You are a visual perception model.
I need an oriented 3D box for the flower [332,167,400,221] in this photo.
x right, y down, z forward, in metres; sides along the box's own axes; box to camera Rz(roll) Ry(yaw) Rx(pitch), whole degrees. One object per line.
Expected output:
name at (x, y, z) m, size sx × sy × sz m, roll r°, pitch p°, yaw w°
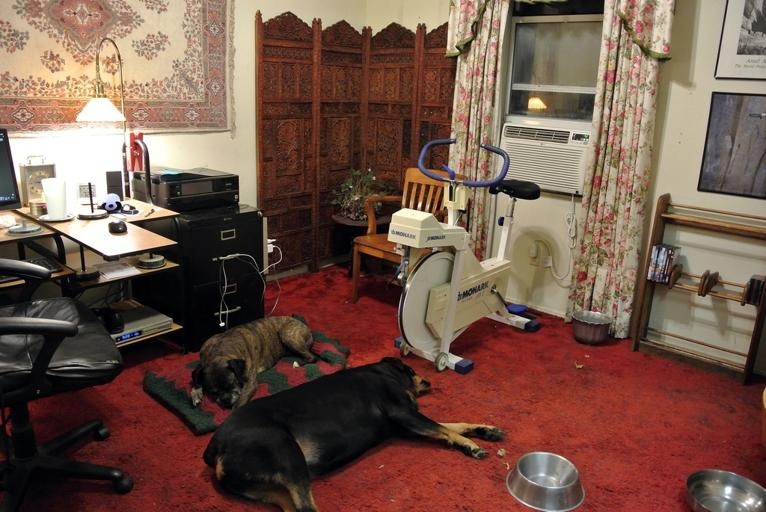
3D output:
flower at (-0.194, -0.693, 5.570) m, size 0.575 × 0.454 × 0.650 m, roll 21°, pitch 15°, yaw -5°

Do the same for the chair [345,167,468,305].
chair at (0.176, -0.195, 4.898) m, size 1.031 × 1.126 × 0.951 m, roll -1°, pitch 24°, yaw 7°

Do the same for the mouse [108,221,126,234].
mouse at (-1.851, -0.202, 3.561) m, size 0.098 × 0.053 × 0.093 m, roll 3°, pitch 9°, yaw 1°

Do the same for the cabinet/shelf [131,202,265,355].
cabinet/shelf at (-1.475, 0.177, 3.984) m, size 0.988 × 1.153 × 0.870 m, roll 17°, pitch 25°, yaw 37°

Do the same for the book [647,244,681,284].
book at (2.257, 0.065, 4.126) m, size 0.286 × 0.277 × 0.173 m, roll -8°, pitch 20°, yaw -36°

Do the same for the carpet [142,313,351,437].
carpet at (-0.899, 0.798, 3.589) m, size 0.643 × 0.118 × 0.888 m, roll 16°, pitch 23°, yaw 41°

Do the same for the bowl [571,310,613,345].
bowl at (1.807, 0.620, 4.427) m, size 0.335 × 0.239 × 0.266 m, roll 6°, pitch 20°, yaw 15°

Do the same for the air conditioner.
air conditioner at (1.475, -0.860, 4.575) m, size 0.720 × 0.567 × 0.276 m, roll 13°, pitch 19°, yaw 33°

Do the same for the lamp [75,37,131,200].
lamp at (-2.179, -1.061, 4.007) m, size 0.376 × 1.242 × 0.472 m, roll -8°, pitch 22°, yaw -23°

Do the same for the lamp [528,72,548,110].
lamp at (1.423, -1.513, 4.772) m, size 0.063 × 0.339 × 0.240 m, roll -18°, pitch 26°, yaw -41°

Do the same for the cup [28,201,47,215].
cup at (-2.549, -0.344, 3.741) m, size 0.114 × 0.077 × 0.108 m, roll 3°, pitch 14°, yaw -1°

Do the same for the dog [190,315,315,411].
dog at (-0.990, 0.728, 3.835) m, size 0.665 × 0.366 × 1.231 m, roll 2°, pitch 14°, yaw 12°
